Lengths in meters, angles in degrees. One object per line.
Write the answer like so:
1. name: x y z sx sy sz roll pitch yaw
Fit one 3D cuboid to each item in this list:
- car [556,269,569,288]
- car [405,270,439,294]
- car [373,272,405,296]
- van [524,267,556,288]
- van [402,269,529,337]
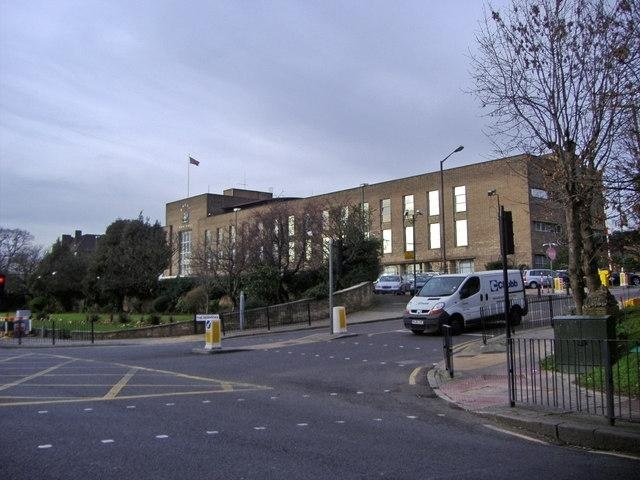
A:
1. car: 18.484 2.877 43.302 0.716 1.340 9.651 -1 -2 22
2. car: 6.606 2.702 37.151 2.842 1.674 1.696 3 -6 -30
3. car: 5.485 3.486 44.451 2.452 1.112 1.903 -2 -2 27
4. van: 16.888 2.901 43.658 1.834 1.104 1.243 -8 4 5
5. van: 5.825 2.462 22.583 4.813 2.534 2.447 6 -13 -34
